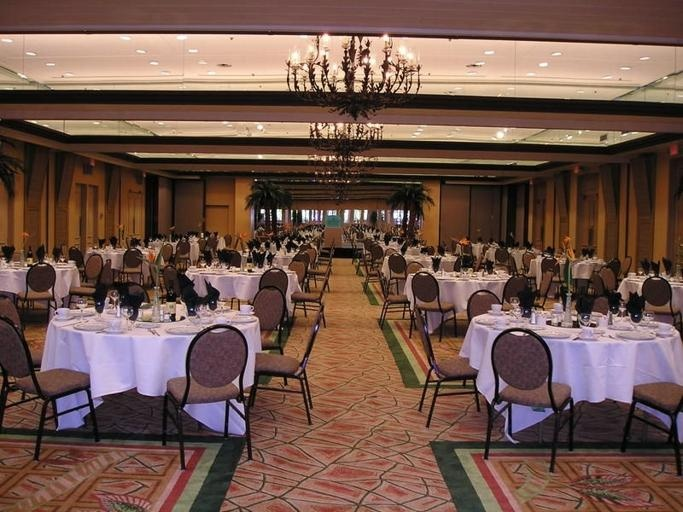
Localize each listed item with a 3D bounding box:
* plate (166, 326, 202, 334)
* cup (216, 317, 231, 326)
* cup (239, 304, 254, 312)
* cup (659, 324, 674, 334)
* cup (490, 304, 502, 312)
[{"bbox_3d":[-1.471,0.685,5.230,0.321,0.038,0.239,2,7,5],"label":"plate"},{"bbox_3d":[-1.164,0.638,5.590,0.107,0.071,0.107,2,4,0],"label":"cup"},{"bbox_3d":[-0.997,0.555,5.935,0.112,0.073,0.089,6,-6,-15],"label":"cup"},{"bbox_3d":[3.188,0.720,5.529,0.163,0.103,0.106,7,-10,-33],"label":"cup"},{"bbox_3d":[1.722,0.570,6.248,0.096,0.070,0.098,0,-2,0],"label":"cup"}]
